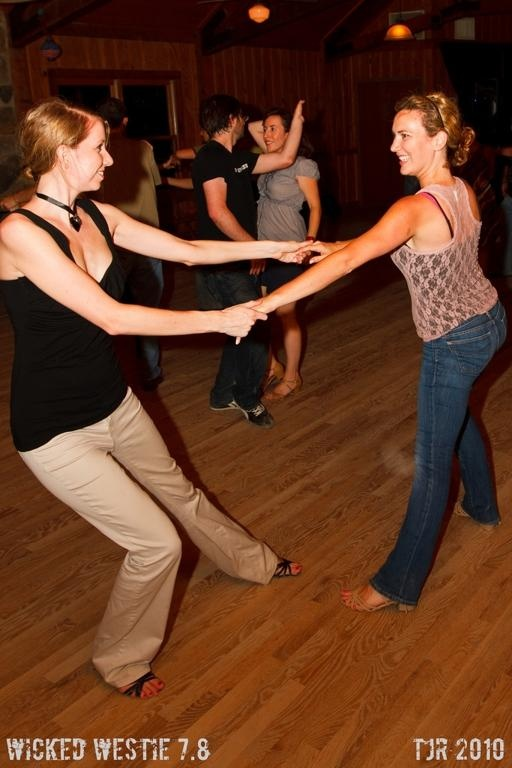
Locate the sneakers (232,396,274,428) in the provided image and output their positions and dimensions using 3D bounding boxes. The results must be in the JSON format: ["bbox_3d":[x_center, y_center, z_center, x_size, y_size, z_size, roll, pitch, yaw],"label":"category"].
[{"bbox_3d":[-0.038,0.179,3.567,0.272,0.104,0.100,35,74,27],"label":"sneakers"}]

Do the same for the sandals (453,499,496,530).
[{"bbox_3d":[0.883,0.533,2.446,0.059,0.065,0.157,-34,42,-23],"label":"sandals"}]

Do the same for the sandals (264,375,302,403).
[{"bbox_3d":[0.173,0.040,3.982,0.248,0.087,0.123,-14,71,16],"label":"sandals"}]

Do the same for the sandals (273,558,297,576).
[{"bbox_3d":[0.109,0.646,2.129,0.117,0.041,0.036,-4,60,-16],"label":"sandals"}]

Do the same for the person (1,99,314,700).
[{"bbox_3d":[-0.261,0.063,1.703,0.452,1.595,0.966,13,34,29],"label":"person"}]

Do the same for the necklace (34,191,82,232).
[{"bbox_3d":[-0.435,-0.390,1.358,0.095,0.074,0.054,-7,45,4],"label":"necklace"}]

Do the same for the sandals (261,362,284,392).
[{"bbox_3d":[0.112,-0.041,4.168,0.094,0.101,0.244,-4,51,39],"label":"sandals"}]

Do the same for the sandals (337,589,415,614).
[{"bbox_3d":[0.379,0.678,1.935,0.205,0.047,0.086,4,27,26],"label":"sandals"}]

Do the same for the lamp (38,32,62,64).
[{"bbox_3d":[-2.461,-4.016,7.139,0.212,0.249,0.334,-13,30,-14],"label":"lamp"}]
